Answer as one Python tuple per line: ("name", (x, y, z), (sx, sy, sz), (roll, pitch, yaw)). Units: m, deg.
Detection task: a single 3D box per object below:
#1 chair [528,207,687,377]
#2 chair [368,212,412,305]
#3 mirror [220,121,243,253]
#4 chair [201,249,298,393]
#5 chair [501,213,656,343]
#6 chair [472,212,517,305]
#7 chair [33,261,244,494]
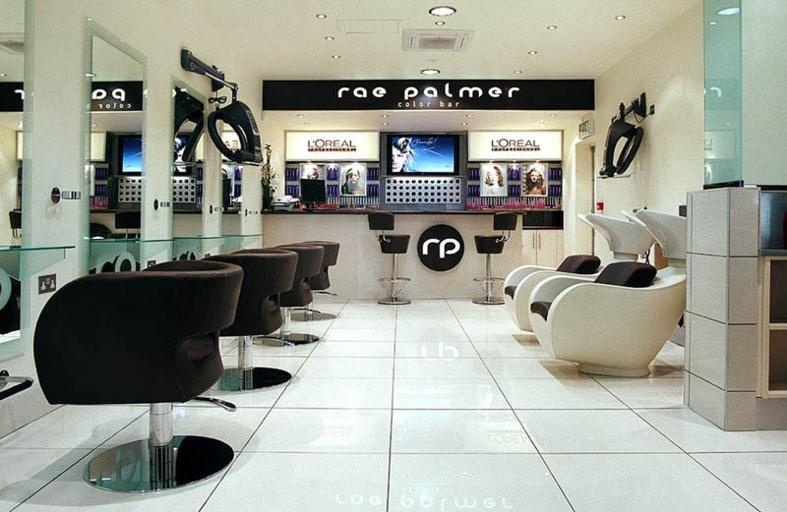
("chair", (2.032, 0.302, 5.277), (1.440, 1.568, 1.477), (1, 0, 13))
("chair", (-0.041, 0.012, 8.320), (0.616, 1.388, 0.567), (0, 13, 2))
("mirror", (-2.148, -0.937, 7.424), (0.233, 1.640, 1.185), (-3, 13, -13))
("chair", (-1.242, 0.519, 4.783), (0.879, 1.054, 1.047), (0, -1, 0))
("chair", (2.208, 0.266, 6.032), (1.439, 1.297, 1.139), (-14, 4, 7))
("chair", (1.520, 0.017, 8.427), (0.655, 1.353, 0.555), (-1, 1, 25))
("chair", (-1.566, 0.704, 3.752), (1.088, 1.340, 1.141), (-1, 5, -4))
